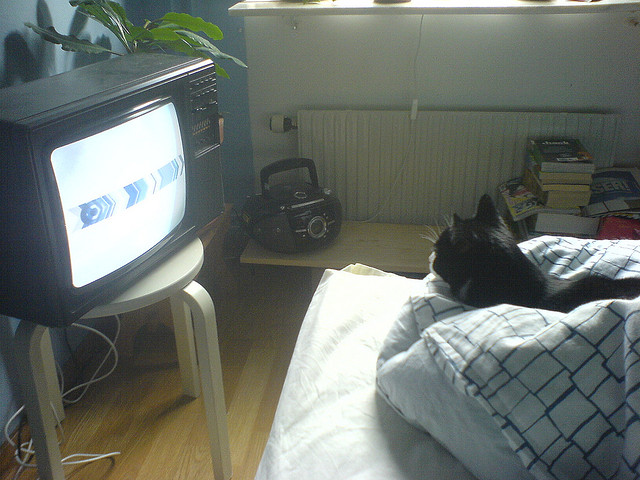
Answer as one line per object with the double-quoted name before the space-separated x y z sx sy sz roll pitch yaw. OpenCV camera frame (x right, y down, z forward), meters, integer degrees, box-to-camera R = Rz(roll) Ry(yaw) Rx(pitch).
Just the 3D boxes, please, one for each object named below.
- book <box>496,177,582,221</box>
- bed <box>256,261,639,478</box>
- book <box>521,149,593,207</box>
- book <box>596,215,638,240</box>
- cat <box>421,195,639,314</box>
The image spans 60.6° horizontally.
"book" 0.827 -0.159 2.217 0.186 0.045 0.186 -11 39 -16
"bed" 0.244 0.265 1.048 0.557 0.185 0.439 -2 45 17
"book" 0.948 -0.209 2.206 0.196 0.137 0.280 1 34 5
"book" 1.108 -0.046 2.044 0.113 0.028 0.120 -2 63 4
"cat" 0.441 0.037 1.251 0.495 0.267 0.157 27 69 38
